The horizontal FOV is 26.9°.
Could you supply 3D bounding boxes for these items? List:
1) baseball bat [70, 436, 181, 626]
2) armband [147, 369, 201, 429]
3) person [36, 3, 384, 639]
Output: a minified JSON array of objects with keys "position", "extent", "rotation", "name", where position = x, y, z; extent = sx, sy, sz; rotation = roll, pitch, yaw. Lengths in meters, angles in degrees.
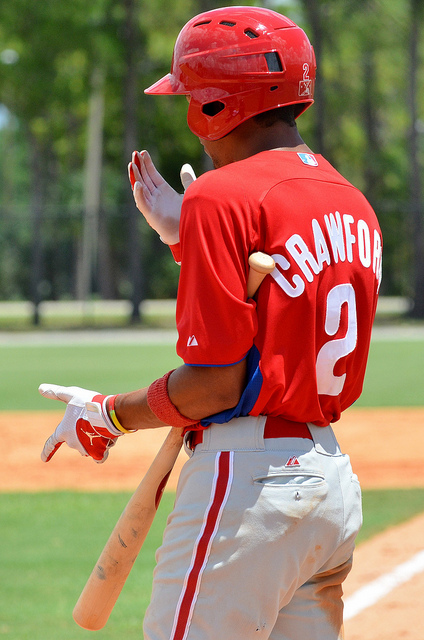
[{"position":[-0.339,0.778,3.257],"extent":[0.162,0.965,0.119],"rotation":[26,4,14],"name":"baseball bat"},{"position":[-0.077,0.162,1.822],"extent":[0.101,0.126,0.096],"rotation":[0,4,-17],"name":"armband"},{"position":[0.090,-0.001,1.918],"extent":[0.636,1.402,0.467],"rotation":[-1,4,-22],"name":"person"}]
